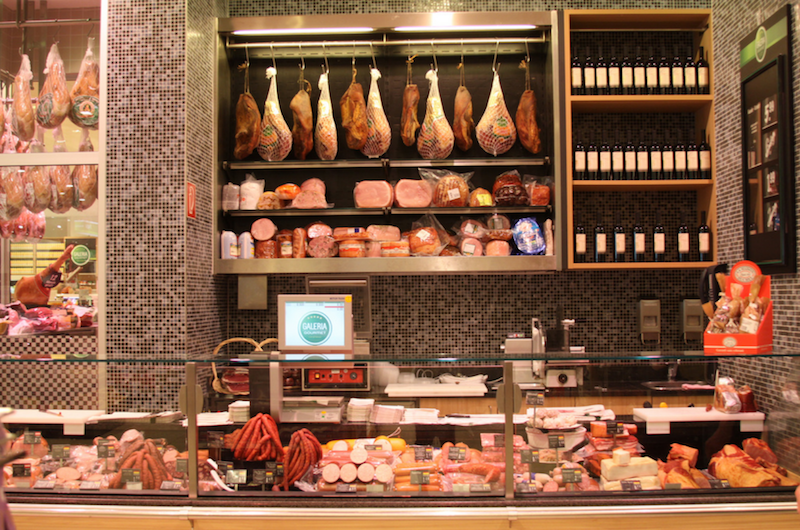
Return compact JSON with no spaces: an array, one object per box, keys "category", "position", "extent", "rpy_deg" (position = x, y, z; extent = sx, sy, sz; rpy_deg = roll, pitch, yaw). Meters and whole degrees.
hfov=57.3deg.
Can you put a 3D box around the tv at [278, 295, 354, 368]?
[{"category":"tv","position":[-0.448,0.368,4.405],"extent":[0.680,0.525,0.357],"rpy_deg":[-1,-4,3]}]

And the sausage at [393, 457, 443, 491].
[{"category":"sausage","position":[0.102,1.225,4.155],"extent":[0.231,0.159,0.067],"rpy_deg":[0,4,0]}]
